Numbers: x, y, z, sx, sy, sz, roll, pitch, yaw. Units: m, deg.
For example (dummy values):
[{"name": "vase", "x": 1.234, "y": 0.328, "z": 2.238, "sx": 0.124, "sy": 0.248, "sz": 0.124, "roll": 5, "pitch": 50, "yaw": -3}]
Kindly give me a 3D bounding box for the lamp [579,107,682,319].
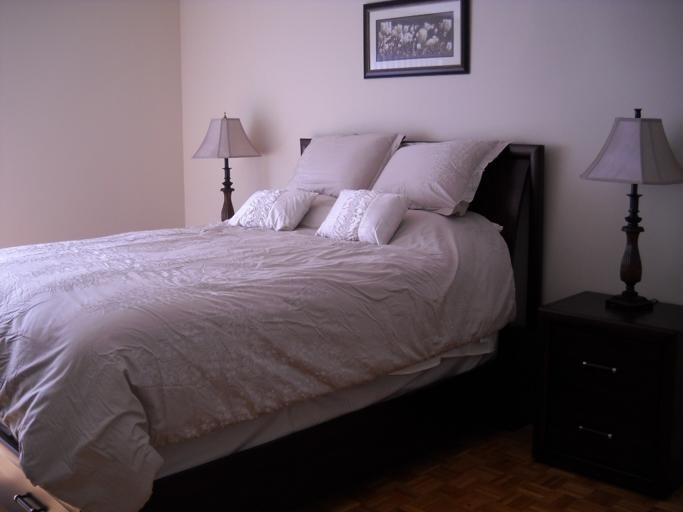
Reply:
[{"name": "lamp", "x": 1.388, "y": -0.232, "z": 2.532, "sx": 0.430, "sy": 0.926, "sz": 0.297, "roll": -4, "pitch": 12, "yaw": -19}]
